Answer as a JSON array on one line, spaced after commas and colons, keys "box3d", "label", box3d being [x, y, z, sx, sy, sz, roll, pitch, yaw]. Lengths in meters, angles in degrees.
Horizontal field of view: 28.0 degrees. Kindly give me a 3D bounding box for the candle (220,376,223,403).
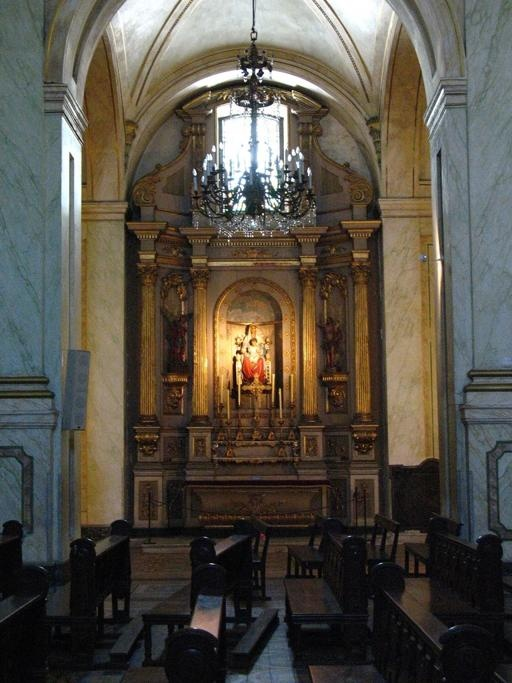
[{"box3d": [-0.465, 0.635, 13.606, 0.028, 0.349, 0.069, -6, -9, 33], "label": "candle"}]
